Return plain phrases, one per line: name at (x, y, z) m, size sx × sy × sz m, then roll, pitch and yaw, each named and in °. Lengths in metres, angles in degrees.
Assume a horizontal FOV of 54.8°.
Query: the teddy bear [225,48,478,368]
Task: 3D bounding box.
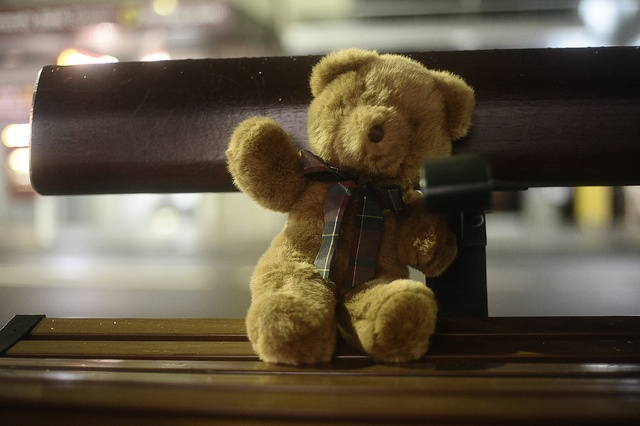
teddy bear at (0.088, -0.037, 2.014) m, size 0.742 × 0.970 × 0.438 m, roll -4°, pitch 12°, yaw -7°
